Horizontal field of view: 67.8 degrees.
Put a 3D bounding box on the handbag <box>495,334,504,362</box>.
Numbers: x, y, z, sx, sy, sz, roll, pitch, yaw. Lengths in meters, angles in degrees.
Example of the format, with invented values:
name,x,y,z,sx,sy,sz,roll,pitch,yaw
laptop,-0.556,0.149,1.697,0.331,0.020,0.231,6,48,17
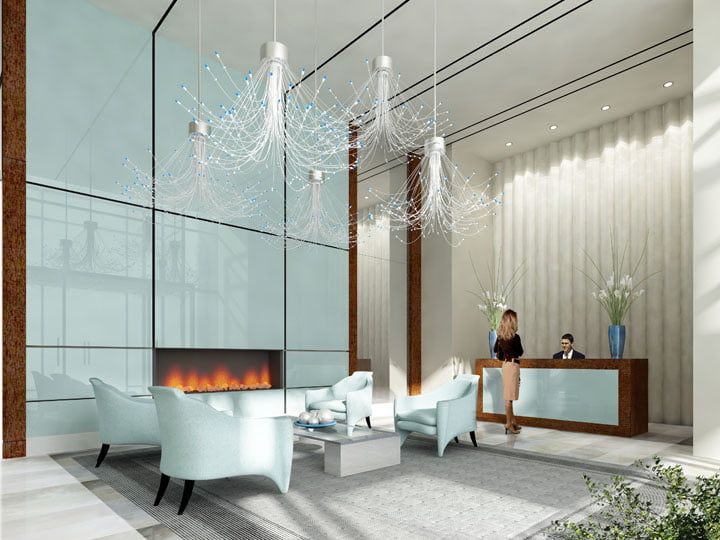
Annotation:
name,x,y,z,sx,sy,sz,roll,pitch,yaw
handbag,2.025,1.142,7.727,0.095,0.350,0.235,0,8,7

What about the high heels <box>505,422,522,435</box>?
name,x,y,z,sx,sy,sz,roll,pitch,yaw
high heels,2.188,2.225,7.591,0.171,0.138,0.311,-4,-6,34

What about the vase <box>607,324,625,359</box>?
name,x,y,z,sx,sy,sz,roll,pitch,yaw
vase,3.662,1.014,7.651,0.195,0.492,0.341,0,-1,24

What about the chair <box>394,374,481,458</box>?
name,x,y,z,sx,sy,sz,roll,pitch,yaw
chair,0.944,1.797,6.742,0.898,1.005,0.847,10,-14,-39

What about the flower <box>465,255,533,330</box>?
name,x,y,z,sx,sy,sz,roll,pitch,yaw
flower,2.679,0.419,9.983,1.184,1.698,1.118,5,-7,-30

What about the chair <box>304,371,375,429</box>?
name,x,y,z,sx,sy,sz,roll,pitch,yaw
chair,-0.222,1.795,7.464,0.797,0.862,0.792,-8,-16,39
